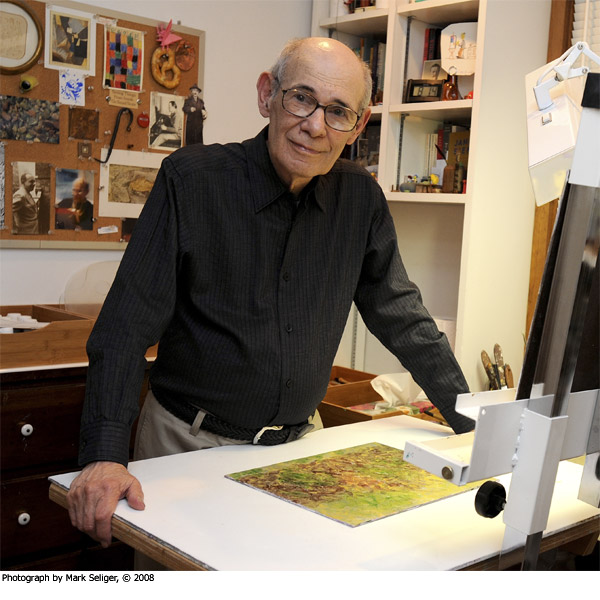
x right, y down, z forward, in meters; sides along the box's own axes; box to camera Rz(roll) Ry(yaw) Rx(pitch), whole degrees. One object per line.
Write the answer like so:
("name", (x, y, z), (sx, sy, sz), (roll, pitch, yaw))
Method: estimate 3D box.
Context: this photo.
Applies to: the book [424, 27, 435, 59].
("book", (0.641, -1.283, 2.559), (0.052, 0.143, 0.148), (2, 6, 10))
